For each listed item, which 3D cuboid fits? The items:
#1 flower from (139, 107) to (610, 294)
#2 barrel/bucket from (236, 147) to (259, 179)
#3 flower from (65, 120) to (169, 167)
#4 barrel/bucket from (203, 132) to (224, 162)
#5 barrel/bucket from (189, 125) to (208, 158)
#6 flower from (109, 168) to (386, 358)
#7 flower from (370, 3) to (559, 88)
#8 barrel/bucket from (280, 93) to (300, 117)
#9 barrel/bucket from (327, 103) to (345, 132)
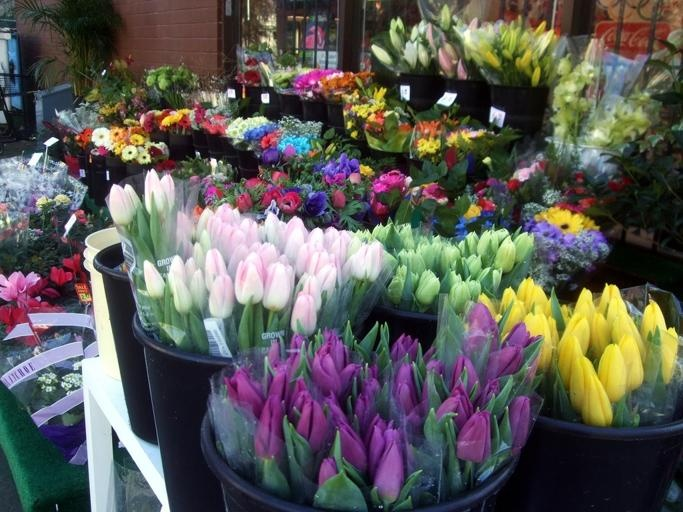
[{"bbox_3d":[0.167,-0.170,1.374,0.633,0.387,0.917,1,10,-8],"label":"flower"},{"bbox_3d":[-0.558,-0.557,2.968,0.174,0.164,0.211,1,36,-6],"label":"barrel/bucket"},{"bbox_3d":[-1.809,-0.896,3.950,0.658,0.321,0.576,12,17,1],"label":"flower"},{"bbox_3d":[-0.903,-0.766,3.464,0.165,0.151,0.193,-5,40,-16],"label":"barrel/bucket"},{"bbox_3d":[-1.063,-0.867,3.766,0.157,0.180,0.180,-5,39,-13],"label":"barrel/bucket"},{"bbox_3d":[-0.182,0.034,0.868,0.382,0.269,0.344,12,7,-24],"label":"flower"},{"bbox_3d":[0.489,-0.801,1.969,0.550,0.286,0.559,2,21,-7],"label":"flower"},{"bbox_3d":[-0.330,-0.944,3.132,0.122,0.100,0.135,-9,49,-14],"label":"barrel/bucket"},{"bbox_3d":[-0.026,-0.749,2.673,0.120,0.134,0.135,1,28,0],"label":"barrel/bucket"}]
